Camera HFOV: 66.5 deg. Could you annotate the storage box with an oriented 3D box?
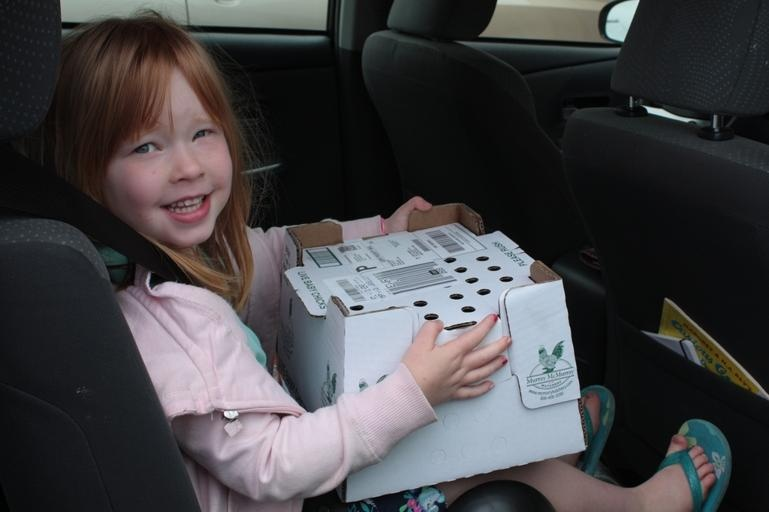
[{"bbox_3d":[0.071,0.155,1.194,0.543,0.323,0.568,-4,19,-9],"label":"storage box"}]
